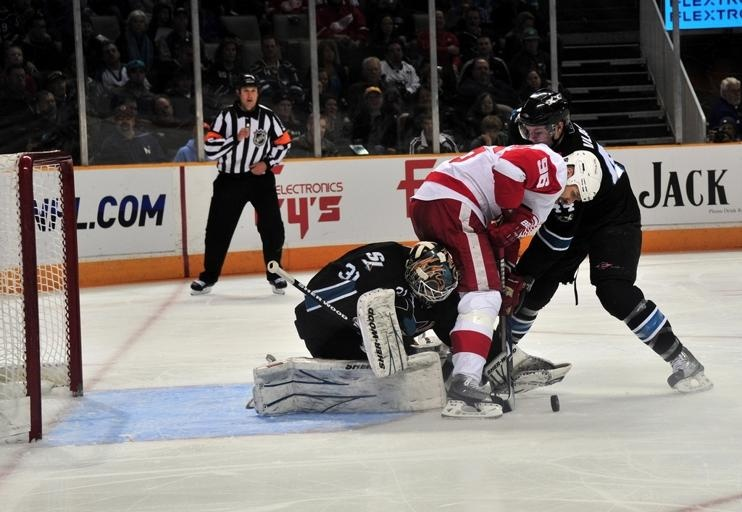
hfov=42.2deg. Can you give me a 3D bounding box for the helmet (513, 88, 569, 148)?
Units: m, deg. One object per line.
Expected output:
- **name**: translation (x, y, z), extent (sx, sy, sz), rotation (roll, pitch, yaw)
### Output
- **helmet**: translation (0.968, -0.791, 5.536), extent (0.339, 0.271, 0.258), rotation (-23, 33, -27)

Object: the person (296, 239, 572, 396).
- **person**: translation (0.220, 0.297, 5.541), extent (1.932, 0.749, 0.645), rotation (11, 3, 3)

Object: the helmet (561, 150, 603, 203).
- **helmet**: translation (1.170, -0.448, 5.494), extent (0.282, 0.263, 0.208), rotation (11, -21, 11)

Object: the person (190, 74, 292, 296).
- **person**: translation (-1.137, -0.643, 8.461), extent (0.927, 1.890, 0.483), rotation (-5, 16, -10)

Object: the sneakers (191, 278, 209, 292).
- **sneakers**: translation (-1.484, 0.270, 8.447), extent (0.171, 0.121, 0.127), rotation (-4, 14, -11)

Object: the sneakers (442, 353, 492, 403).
- **sneakers**: translation (0.505, 0.611, 5.152), extent (0.131, 0.213, 0.365), rotation (10, -19, -31)

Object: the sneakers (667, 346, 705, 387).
- **sneakers**: translation (1.748, 0.636, 5.460), extent (0.296, 0.233, 0.086), rotation (-4, -21, -31)
